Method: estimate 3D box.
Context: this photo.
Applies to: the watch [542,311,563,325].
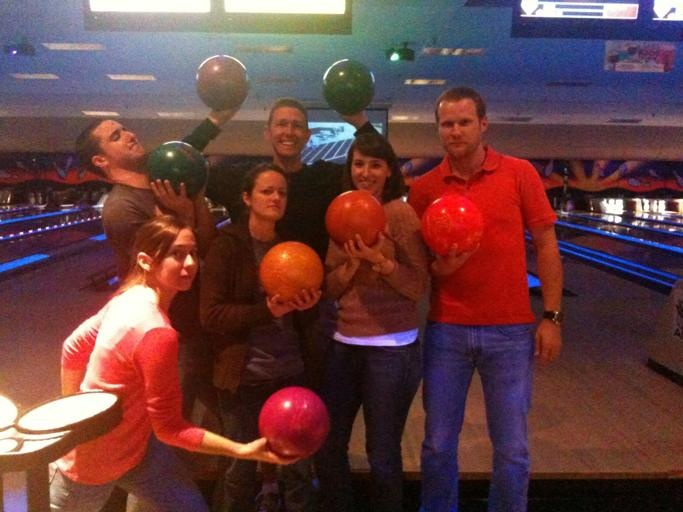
[{"bbox_3d":[0.971,0.278,2.185,0.088,0.055,0.078,12,-12,-29],"label":"watch"}]
